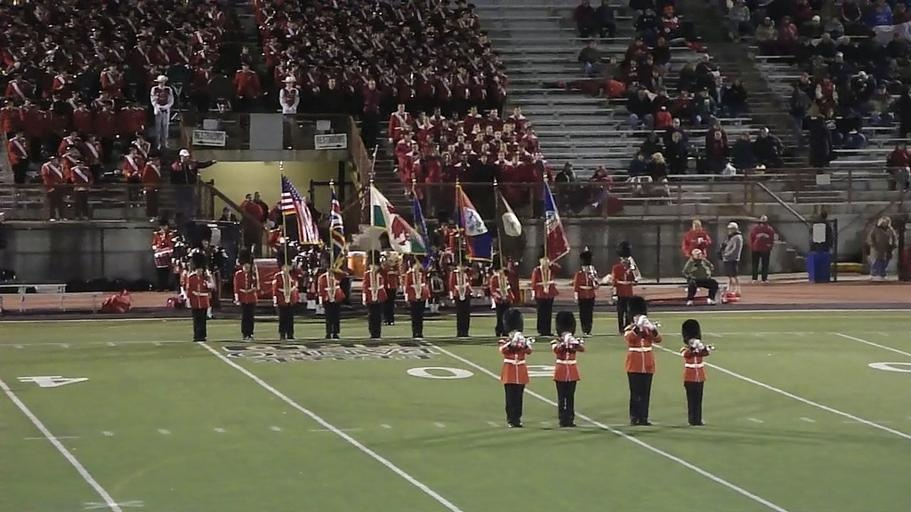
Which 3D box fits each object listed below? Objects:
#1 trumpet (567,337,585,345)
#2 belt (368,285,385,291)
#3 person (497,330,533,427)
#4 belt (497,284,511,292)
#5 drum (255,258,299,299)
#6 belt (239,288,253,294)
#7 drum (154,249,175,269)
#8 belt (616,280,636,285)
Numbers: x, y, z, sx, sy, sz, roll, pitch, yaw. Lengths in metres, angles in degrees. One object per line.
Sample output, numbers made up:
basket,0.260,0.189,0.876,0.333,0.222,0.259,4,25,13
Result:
trumpet,3.477,2.420,46.929,0.273,0.230,0.661,1,2,34
belt,-2.615,1.058,54.894,0.188,0.125,0.736,1,2,34
person,1.782,3.462,47.141,1.068,2.791,0.966,5,-15,-17
belt,1.649,1.048,54.393,0.173,0.157,0.583,1,2,30
drum,-6.623,0.817,58.482,1.807,1.463,1.381,0,3,2
belt,-6.858,1.164,54.269,0.346,0.149,0.069,-1,2,-24
drum,-10.637,0.097,60.237,0.720,0.723,0.853,1,-6,-6
belt,5.766,0.883,54.748,0.364,0.127,0.851,1,2,33
